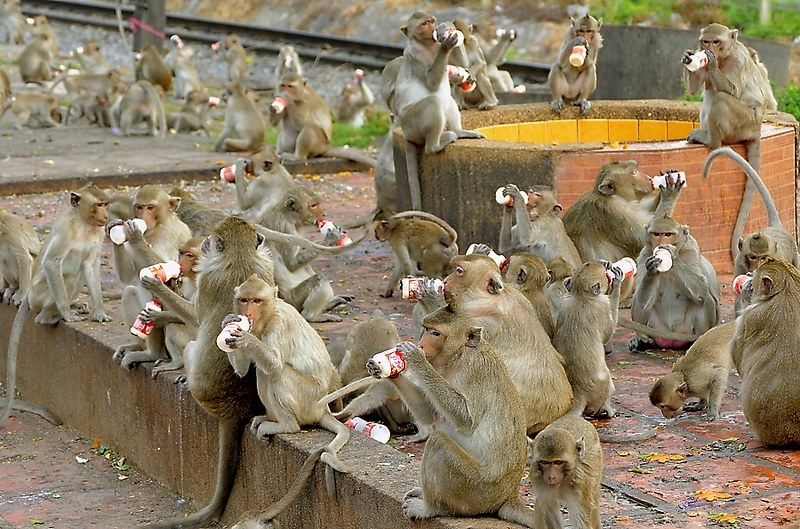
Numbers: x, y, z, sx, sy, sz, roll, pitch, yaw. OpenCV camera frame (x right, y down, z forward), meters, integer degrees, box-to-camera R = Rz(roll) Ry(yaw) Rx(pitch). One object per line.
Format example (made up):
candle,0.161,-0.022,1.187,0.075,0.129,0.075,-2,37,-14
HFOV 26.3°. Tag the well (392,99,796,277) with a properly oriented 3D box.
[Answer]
well,1.883,-0.763,18.824,2.685,0.991,2.761,-2,10,-3

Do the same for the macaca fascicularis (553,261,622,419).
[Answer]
macaca fascicularis,1.594,0.674,14.852,0.540,1.343,0.367,0,12,3
